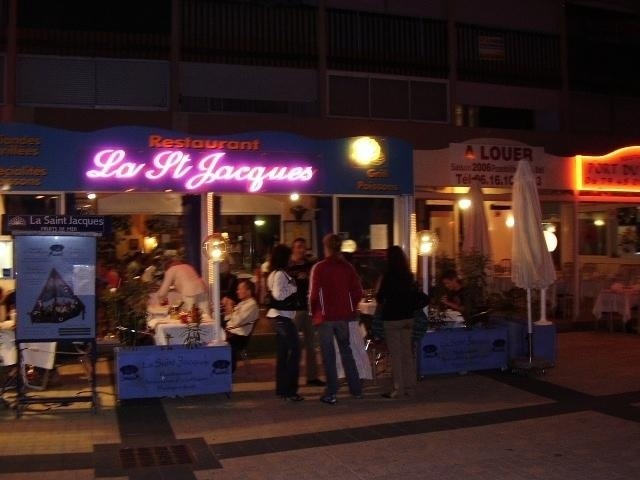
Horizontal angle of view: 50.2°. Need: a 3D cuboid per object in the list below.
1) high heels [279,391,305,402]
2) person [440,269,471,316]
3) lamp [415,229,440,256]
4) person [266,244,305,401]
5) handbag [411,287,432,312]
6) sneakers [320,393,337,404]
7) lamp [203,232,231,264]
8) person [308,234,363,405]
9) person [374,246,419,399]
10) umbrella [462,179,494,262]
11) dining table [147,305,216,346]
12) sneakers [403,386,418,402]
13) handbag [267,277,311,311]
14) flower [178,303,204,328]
[{"bbox_3d":[-0.396,2.187,9.558,0.392,0.125,0.123,-3,-4,12],"label":"high heels"},{"bbox_3d":[2.203,0.825,11.124,0.410,0.630,0.784,-1,8,-2],"label":"person"},{"bbox_3d":[1.735,0.036,11.128,0.457,0.425,0.413,2,4,5],"label":"lamp"},{"bbox_3d":[-0.497,1.144,9.509,0.444,2.156,0.475,-2,9,-5],"label":"person"},{"bbox_3d":[1.385,0.817,9.464,0.354,0.291,0.111,17,-24,-35],"label":"handbag"},{"bbox_3d":[0.129,2.163,9.372,0.232,0.090,0.106,5,3,35],"label":"sneakers"},{"bbox_3d":[-1.454,0.103,10.017,0.498,0.475,0.459,1,-1,13],"label":"lamp"},{"bbox_3d":[0.221,1.071,9.458,0.693,2.272,0.525,-8,11,-36],"label":"person"},{"bbox_3d":[1.106,1.141,9.508,0.437,2.087,0.467,6,12,39],"label":"person"},{"bbox_3d":[3.337,-0.430,14.392,0.557,1.409,1.026,1,9,13],"label":"umbrella"},{"bbox_3d":[-2.020,1.216,9.867,1.015,0.508,0.780,1,8,11],"label":"dining table"},{"bbox_3d":[1.267,2.124,9.540,0.206,0.191,0.154,3,-12,-6],"label":"sneakers"},{"bbox_3d":[-0.428,0.752,9.808,0.143,0.477,0.608,2,0,40],"label":"handbag"},{"bbox_3d":[-1.889,1.072,9.876,0.394,0.312,0.208,0,-5,12],"label":"flower"}]
